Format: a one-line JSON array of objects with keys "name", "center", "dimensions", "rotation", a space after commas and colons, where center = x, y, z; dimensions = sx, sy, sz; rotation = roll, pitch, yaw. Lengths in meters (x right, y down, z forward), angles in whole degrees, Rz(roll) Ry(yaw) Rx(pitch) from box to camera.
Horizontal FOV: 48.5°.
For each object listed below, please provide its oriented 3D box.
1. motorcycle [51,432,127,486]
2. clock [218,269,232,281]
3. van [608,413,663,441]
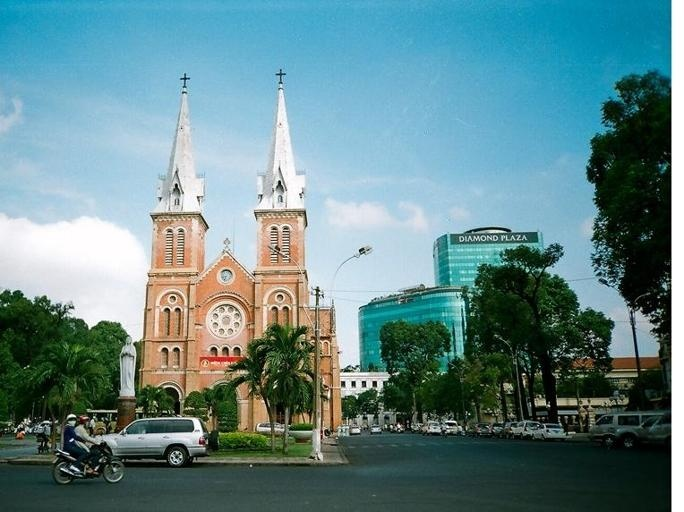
[{"name": "motorcycle", "center": [-8.978, 7.346, 26.923], "dimensions": [2.555, 1.542, 1.234], "rotation": [1, -18, -14]}, {"name": "clock", "center": [-11.420, 1.815, 74.218], "dimensions": [1.186, 1.398, 0.112], "rotation": [-2, -5, 4]}, {"name": "van", "center": [15.292, 8.653, 38.984], "dimensions": [2.162, 1.228, 1.284], "rotation": [-3, -24, 17]}]
